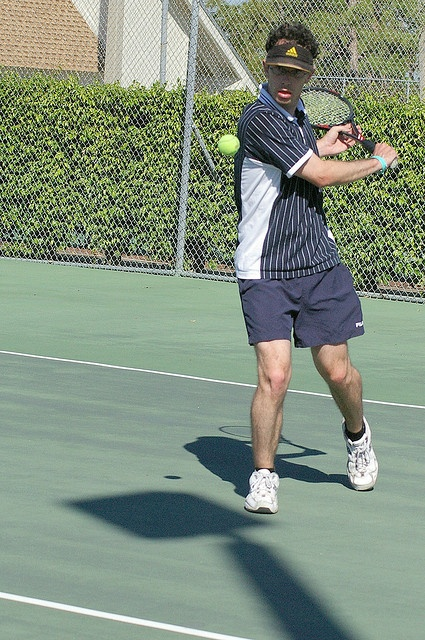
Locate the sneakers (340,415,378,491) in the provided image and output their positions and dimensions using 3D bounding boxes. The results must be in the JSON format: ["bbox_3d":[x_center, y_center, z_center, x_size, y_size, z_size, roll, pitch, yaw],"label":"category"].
[{"bbox_3d":[0.608,0.562,2.514,0.116,0.310,0.129,-8,-25,11],"label":"sneakers"}]

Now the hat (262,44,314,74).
[{"bbox_3d":[0.276,-0.948,2.115,0.176,0.113,0.127,3,0,2],"label":"hat"}]

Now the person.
[{"bbox_3d":[0.382,-0.203,2.296,0.646,1.798,0.454,4,0,-8],"label":"person"}]

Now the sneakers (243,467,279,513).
[{"bbox_3d":[0.176,0.623,2.129,0.120,0.151,0.121,3,0,6],"label":"sneakers"}]
